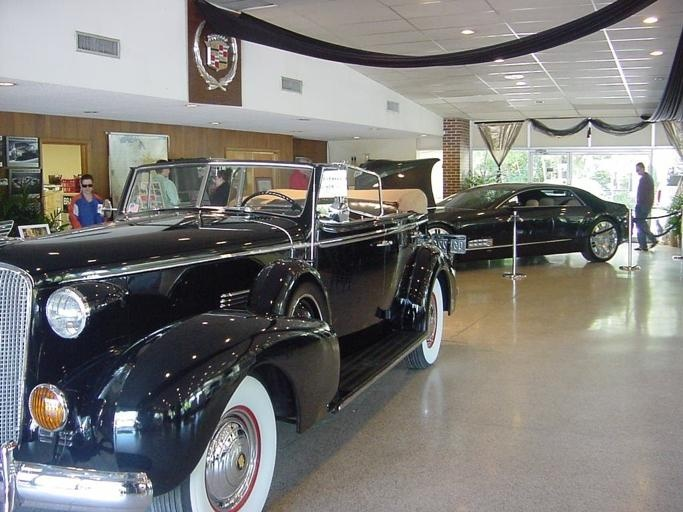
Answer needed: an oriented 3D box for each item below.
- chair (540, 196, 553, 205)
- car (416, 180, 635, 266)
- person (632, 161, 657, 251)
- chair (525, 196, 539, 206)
[{"bbox_3d":[4.599,-1.229,10.181,0.196,0.225,0.217,-19,-8,42],"label":"chair"},{"bbox_3d":[4.239,-0.766,10.443,4.727,1.413,2.106,2,0,-16],"label":"car"},{"bbox_3d":[8.597,-1.433,12.802,0.549,2.438,1.364,4,9,33],"label":"person"},{"bbox_3d":[4.233,-1.174,10.078,0.230,0.217,0.210,0,48,10],"label":"chair"}]
